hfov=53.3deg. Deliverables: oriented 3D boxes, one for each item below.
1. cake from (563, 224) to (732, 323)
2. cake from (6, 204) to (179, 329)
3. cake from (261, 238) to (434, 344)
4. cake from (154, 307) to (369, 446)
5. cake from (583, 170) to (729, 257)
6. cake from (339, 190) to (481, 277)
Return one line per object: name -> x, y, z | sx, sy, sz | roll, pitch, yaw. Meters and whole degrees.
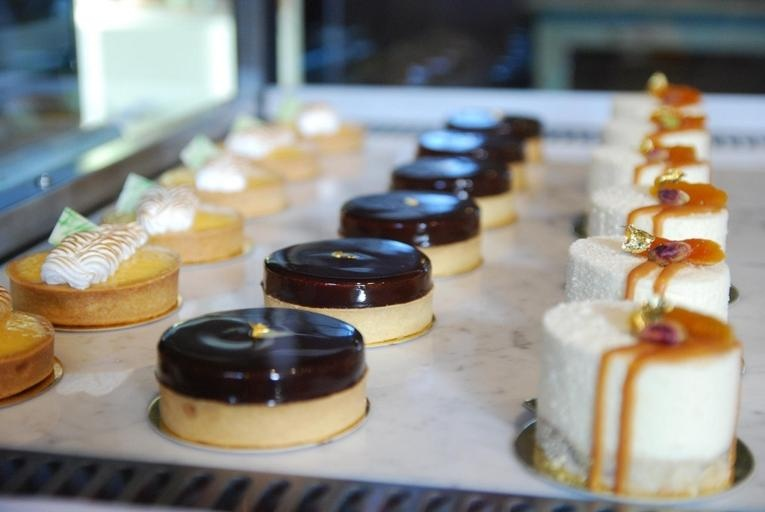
cake -> 0.669, 0.048, 1.862 | 0.316, 0.131, 0.325 | -23, 26, -31
cake -> -0.795, 0.051, 2.118 | 0.455, 0.258, 0.243 | -4, 19, -13
cake -> -0.090, 0.073, 2.067 | 0.404, 0.129, 0.341 | 4, 15, 16
cake -> -0.287, 0.247, 1.750 | 0.505, 0.162, 0.411 | 6, 13, 5
cake -> 0.771, -0.131, 2.167 | 0.353, 0.147, 0.297 | 2, 8, 13
cake -> 0.098, -0.085, 2.501 | 0.422, 0.128, 0.338 | 0, 14, 2
